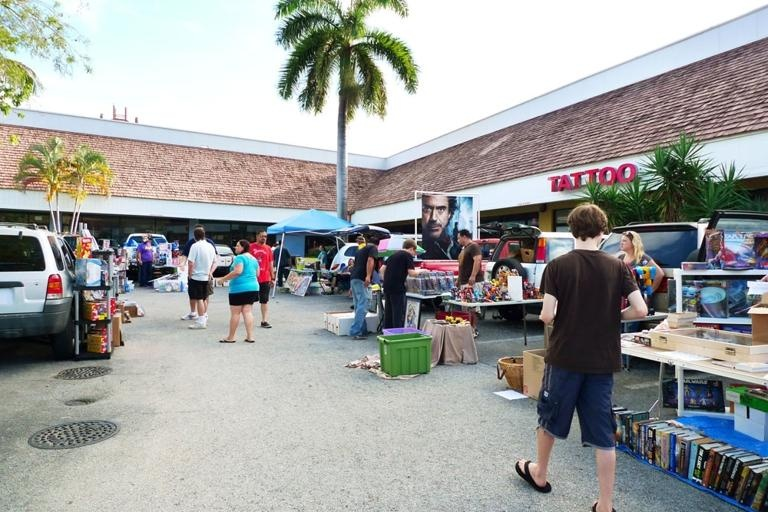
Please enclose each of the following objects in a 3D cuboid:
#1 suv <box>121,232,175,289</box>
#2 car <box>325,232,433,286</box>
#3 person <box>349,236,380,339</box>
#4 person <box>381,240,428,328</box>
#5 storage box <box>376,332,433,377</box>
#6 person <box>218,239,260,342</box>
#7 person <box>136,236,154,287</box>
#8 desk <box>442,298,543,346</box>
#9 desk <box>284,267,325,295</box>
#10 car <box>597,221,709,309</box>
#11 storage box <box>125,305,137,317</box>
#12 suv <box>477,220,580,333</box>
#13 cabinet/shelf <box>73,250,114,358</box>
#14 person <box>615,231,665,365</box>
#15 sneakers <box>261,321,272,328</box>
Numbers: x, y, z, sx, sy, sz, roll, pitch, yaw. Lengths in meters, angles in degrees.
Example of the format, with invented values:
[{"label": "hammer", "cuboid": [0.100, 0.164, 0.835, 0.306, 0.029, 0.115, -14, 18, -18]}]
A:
[{"label": "suv", "cuboid": [-9.283, 0.126, 21.626, 1.812, 1.634, 3.238, 0, 6, -22]}, {"label": "car", "cuboid": [-0.268, 0.050, 16.899, 2.514, 1.193, 1.363, -7, 5, -35]}, {"label": "person", "cuboid": [-0.412, 0.693, 11.056, 0.562, 1.834, 0.857, 0, 14, -1]}, {"label": "person", "cuboid": [0.316, 0.561, 10.269, 0.653, 1.698, 0.646, 0, 14, 0]}, {"label": "storage box", "cuboid": [0.315, 1.527, 8.602, 0.966, 0.657, 0.579, 0, -1, -25]}, {"label": "person", "cuboid": [-2.804, 0.699, 10.604, 0.708, 2.020, 1.065, -3, 14, -14]}, {"label": "person", "cuboid": [-8.856, 0.237, 20.277, 0.615, 1.703, 1.106, -6, 15, -23]}, {"label": "desk", "cuboid": [2.621, 1.315, 10.493, 0.899, 0.804, 1.691, -14, -14, 30]}, {"label": "desk", "cuboid": [-2.920, 0.705, 18.750, 1.531, 1.088, 0.822, -3, -13, 20]}, {"label": "car", "cuboid": [4.014, 0.134, 8.852, 2.344, 1.244, 1.353, 2, -4, -25]}, {"label": "storage box", "cuboid": [-5.857, 1.249, 12.738, 0.318, 0.304, 0.227, 1, -2, -41]}, {"label": "suv", "cuboid": [3.035, 0.191, 11.985, 1.268, 1.433, 2.414, -7, 7, -26]}, {"label": "cabinet/shelf", "cuboid": [-4.794, 0.800, 8.951, 0.588, 1.701, 1.793, 1, -2, -17]}, {"label": "person", "cuboid": [3.986, 0.614, 8.853, 0.680, 1.933, 0.832, -16, 17, -38]}, {"label": "sneakers", "cuboid": [-2.562, 1.507, 11.892, 0.100, 0.104, 0.271, 2, -5, -42]}]
